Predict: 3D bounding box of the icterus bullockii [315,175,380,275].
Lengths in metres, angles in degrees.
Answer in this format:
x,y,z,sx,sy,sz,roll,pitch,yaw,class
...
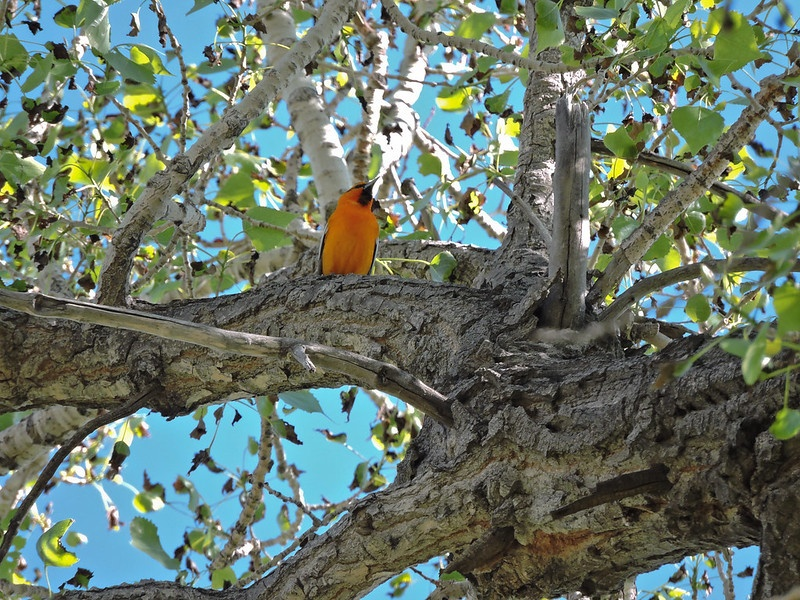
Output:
x,y,z,sx,sy,sz,roll,pitch,yaw,class
-0.305,-0.427,7.838,0.455,0.445,0.195,-39,-66,21,icterus bullockii
